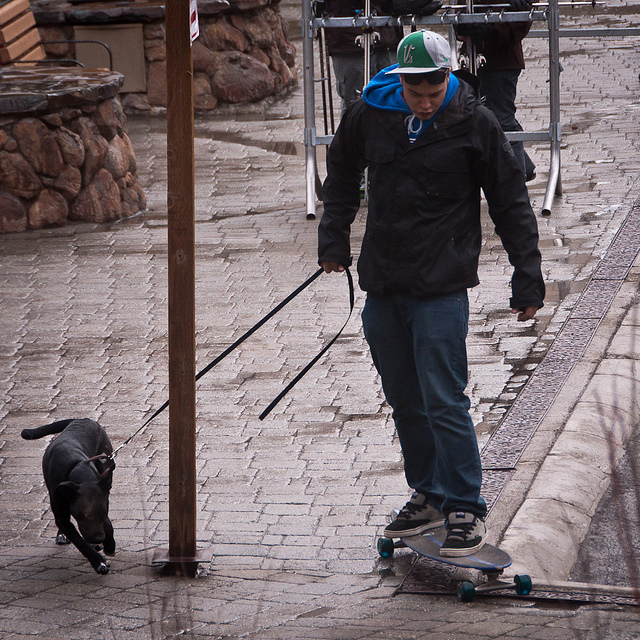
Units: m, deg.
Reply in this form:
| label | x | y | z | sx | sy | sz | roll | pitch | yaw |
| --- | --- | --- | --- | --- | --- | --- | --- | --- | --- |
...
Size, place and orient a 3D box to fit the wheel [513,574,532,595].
| label | x | y | z | sx | sy | sz | roll | pitch | yaw |
| --- | --- | --- | --- | --- | --- | --- | --- | --- | --- |
| wheel | 0.848 | 1.098 | 5.686 | 0.058 | 0.088 | 0.097 | -5 | 0 | -14 |

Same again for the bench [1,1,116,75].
| label | x | y | z | sx | sy | sz | roll | pitch | yaw |
| --- | --- | --- | --- | --- | --- | --- | --- | --- | --- |
| bench | -2.799 | -3.024 | 14.793 | 1.127 | 1.146 | 1.330 | -1 | 13 | 2 |

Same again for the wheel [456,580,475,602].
| label | x | y | z | sx | sy | sz | roll | pitch | yaw |
| --- | --- | --- | --- | --- | --- | --- | --- | --- | --- |
| wheel | 0.608 | 1.129 | 5.727 | 0.061 | 0.089 | 0.093 | -3 | 13 | -22 |

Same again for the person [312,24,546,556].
| label | x | y | z | sx | sy | sz | roll | pitch | yaw |
| --- | --- | --- | --- | --- | --- | --- | --- | --- | --- |
| person | 0.509 | -0.107 | 6.058 | 0.768 | 2.252 | 1.142 | -12 | 22 | -27 |

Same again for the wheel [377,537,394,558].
| label | x | y | z | sx | sy | sz | roll | pitch | yaw |
| --- | --- | --- | --- | --- | --- | --- | --- | --- | --- |
| wheel | 0.303 | 1.015 | 6.125 | 0.062 | 0.093 | 0.103 | -1 | -3 | -12 |

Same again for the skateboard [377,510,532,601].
| label | x | y | z | sx | sy | sz | roll | pitch | yaw |
| --- | --- | --- | --- | --- | --- | --- | --- | --- | --- |
| skateboard | 0.606 | 0.990 | 5.899 | 0.254 | 0.102 | 0.679 | -7 | 12 | -31 |

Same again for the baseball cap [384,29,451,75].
| label | x | y | z | sx | sy | sz | roll | pitch | yaw |
| --- | --- | --- | --- | --- | --- | --- | --- | --- | --- |
| baseball cap | 0.415 | -1.161 | 5.918 | 0.242 | 0.160 | 0.360 | 12 | 26 | 36 |

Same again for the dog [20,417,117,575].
| label | x | y | z | sx | sy | sz | roll | pitch | yaw |
| --- | --- | --- | --- | --- | --- | --- | --- | --- | --- |
| dog | -1.205 | 0.765 | 6.324 | 0.344 | 0.321 | 0.861 | -9 | 21 | -15 |
